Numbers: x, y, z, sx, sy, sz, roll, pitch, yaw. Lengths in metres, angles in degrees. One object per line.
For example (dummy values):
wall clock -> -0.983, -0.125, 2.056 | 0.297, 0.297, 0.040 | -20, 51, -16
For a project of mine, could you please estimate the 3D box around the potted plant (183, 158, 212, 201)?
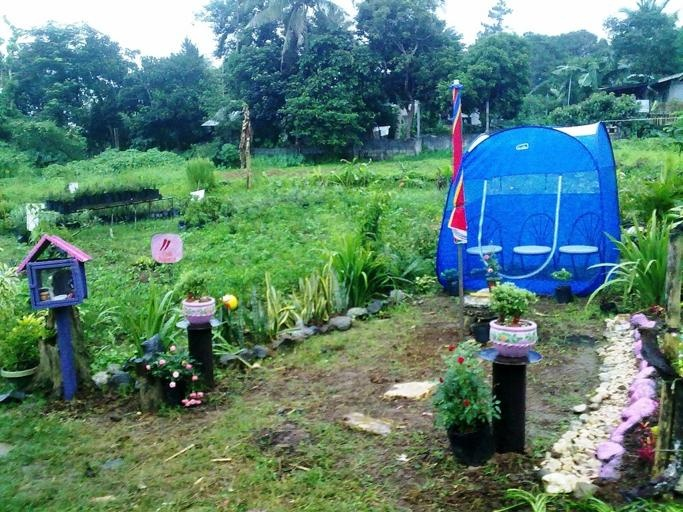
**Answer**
potted plant -> -3.923, -2.244, 16.648 | 0.797, 1.263, 3.121 | -2, 4, -14

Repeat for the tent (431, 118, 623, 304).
tent -> 2.792, -0.771, 8.402 | 2.275, 2.147, 1.873 | 4, 5, 43

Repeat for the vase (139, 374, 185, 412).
vase -> -1.823, 1.346, 5.961 | 0.326, 0.358, 0.406 | -9, -3, -16

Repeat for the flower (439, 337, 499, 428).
flower -> 1.003, 1.028, 4.717 | 0.551, 0.665, 0.338 | -2, 4, -6

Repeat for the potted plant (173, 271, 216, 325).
potted plant -> -1.495, 0.422, 6.208 | 0.517, 0.663, 0.571 | 0, 5, -11

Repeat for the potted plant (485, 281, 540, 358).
potted plant -> 1.396, 0.516, 4.870 | 0.359, 0.580, 0.403 | 0, 4, 14

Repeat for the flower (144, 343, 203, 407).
flower -> -1.687, 1.203, 5.909 | 0.372, 0.532, 0.495 | -11, -8, 7

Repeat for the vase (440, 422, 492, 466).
vase -> 1.012, 1.475, 4.785 | 0.331, 0.265, 0.325 | -6, 2, -2

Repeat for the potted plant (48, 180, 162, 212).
potted plant -> -6.301, -1.480, 15.480 | 0.971, 0.735, 2.976 | 2, 5, 41
